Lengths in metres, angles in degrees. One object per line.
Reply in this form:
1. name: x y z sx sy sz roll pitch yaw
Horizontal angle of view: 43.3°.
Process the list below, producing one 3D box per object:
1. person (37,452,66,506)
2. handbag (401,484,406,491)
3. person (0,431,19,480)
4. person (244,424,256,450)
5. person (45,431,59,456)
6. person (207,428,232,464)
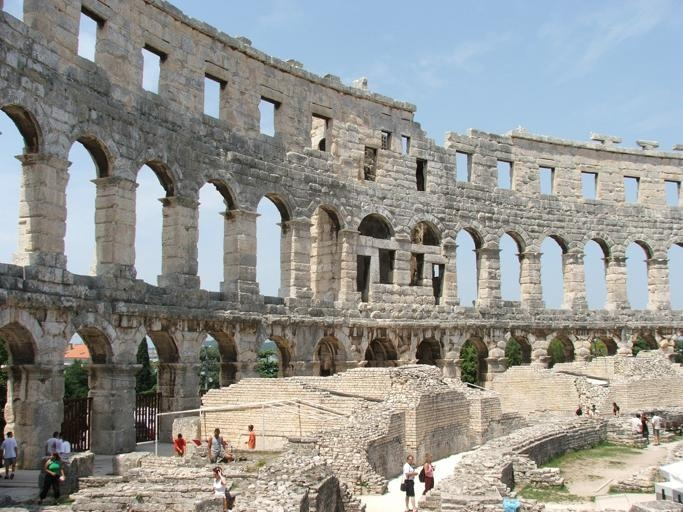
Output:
1. person: -8.282 6.323 24.471 0.686 1.365 0.605 2 -10 -19
2. handbag: 1.729 6.449 23.973 0.113 0.193 0.198 -2 -10 2
3. person: -10.121 6.059 26.099 0.437 1.368 0.724 2 -11 -20
4. person: -2.884 5.763 27.351 0.289 0.752 0.526 1 -10 -12
5. person: -8.813 5.733 26.029 0.419 0.916 0.269 13 -35 -31
6. person: -3.611 5.656 25.535 0.771 0.978 0.491 -1 -10 -5
